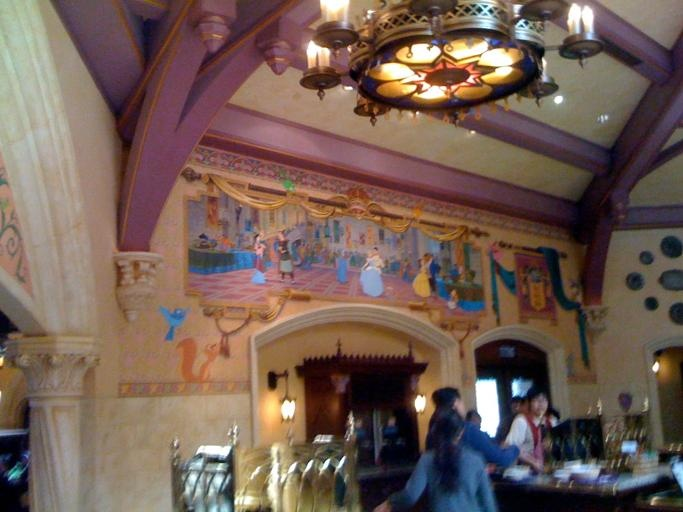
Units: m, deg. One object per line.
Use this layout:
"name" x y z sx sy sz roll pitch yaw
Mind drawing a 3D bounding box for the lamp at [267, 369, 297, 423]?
"lamp" -0.948 2.260 9.746 0.208 0.843 0.633 -13 -21 34
